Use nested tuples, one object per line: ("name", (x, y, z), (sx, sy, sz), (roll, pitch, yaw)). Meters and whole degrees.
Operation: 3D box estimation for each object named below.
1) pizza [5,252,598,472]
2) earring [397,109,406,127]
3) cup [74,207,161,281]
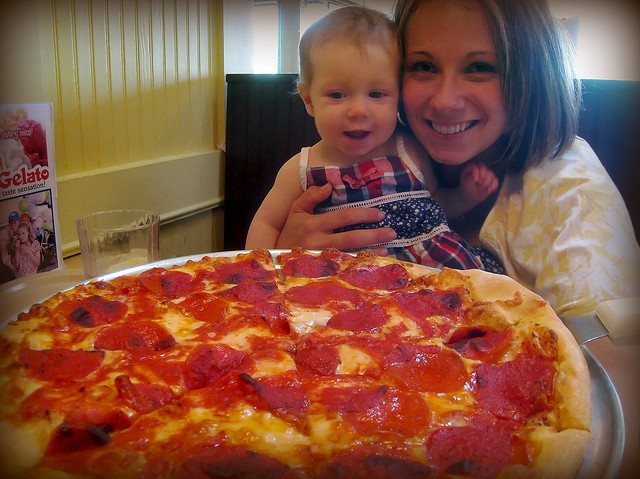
("pizza", (-0.057, 0.180, 0.882), (1.011, 0.171, 0.583), (2, 13, 7))
("earring", (0.228, -0.342, 1.394), (0.019, 0.044, 0.051), (7, 15, 26))
("cup", (-0.477, -0.014, 1.246), (0.187, 0.205, 0.193), (-1, 11, 0))
